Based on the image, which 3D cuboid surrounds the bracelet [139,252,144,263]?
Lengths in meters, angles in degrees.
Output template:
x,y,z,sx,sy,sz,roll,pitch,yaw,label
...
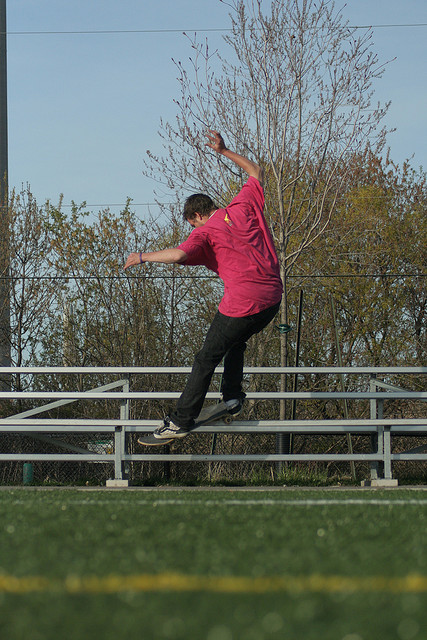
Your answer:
x,y,z,sx,sy,sz,roll,pitch,yaw,label
-0.339,-0.297,4.362,0.016,0.044,0.052,3,3,-5,bracelet
